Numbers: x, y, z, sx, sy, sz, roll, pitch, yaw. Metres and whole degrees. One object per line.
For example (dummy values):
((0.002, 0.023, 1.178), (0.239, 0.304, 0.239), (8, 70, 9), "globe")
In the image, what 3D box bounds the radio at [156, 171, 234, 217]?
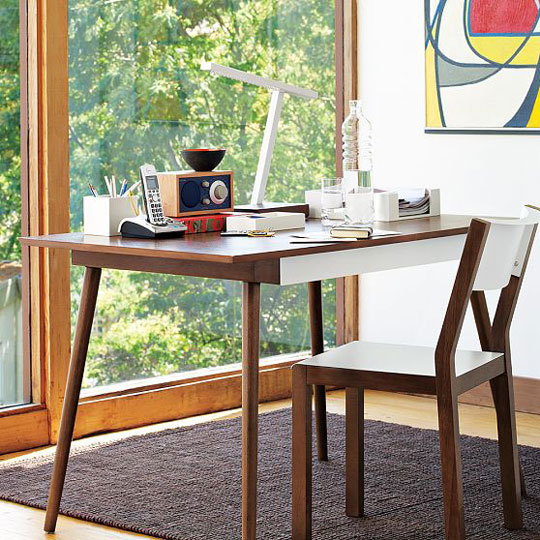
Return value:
((-0.189, -0.206, 1.609), (0.186, 0.107, 0.089), (-11, 15, -42), "radio")

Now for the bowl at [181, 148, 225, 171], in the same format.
((-0.174, -0.298, 1.671), (0.118, 0.064, 0.124), (0, 18, 0), "bowl")
